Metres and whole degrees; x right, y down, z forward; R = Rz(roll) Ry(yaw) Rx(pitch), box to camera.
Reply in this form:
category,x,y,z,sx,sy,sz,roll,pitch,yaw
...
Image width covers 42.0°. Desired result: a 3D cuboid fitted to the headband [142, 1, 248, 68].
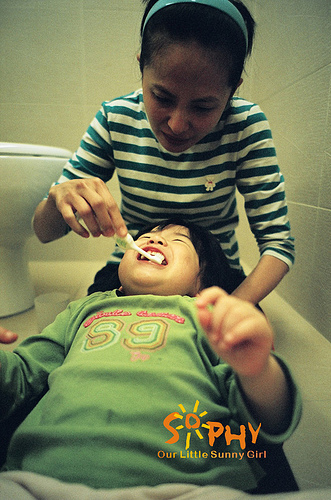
category,x,y,z,sx,sy,sz,roll,pitch,yaw
headband,0.048,-0.345,0.638,0.158,0.059,0.088,9,43,0

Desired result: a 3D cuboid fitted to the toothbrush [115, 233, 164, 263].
category,x,y,z,sx,sy,sz,roll,pitch,yaw
toothbrush,-0.043,-0.005,0.746,0.076,0.019,0.021,37,16,-17
